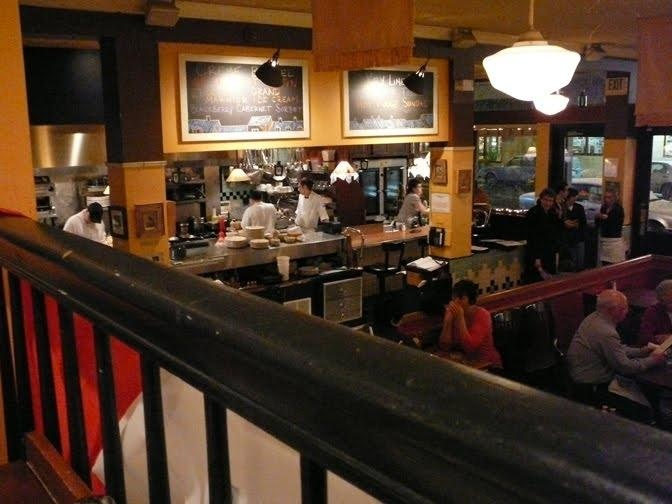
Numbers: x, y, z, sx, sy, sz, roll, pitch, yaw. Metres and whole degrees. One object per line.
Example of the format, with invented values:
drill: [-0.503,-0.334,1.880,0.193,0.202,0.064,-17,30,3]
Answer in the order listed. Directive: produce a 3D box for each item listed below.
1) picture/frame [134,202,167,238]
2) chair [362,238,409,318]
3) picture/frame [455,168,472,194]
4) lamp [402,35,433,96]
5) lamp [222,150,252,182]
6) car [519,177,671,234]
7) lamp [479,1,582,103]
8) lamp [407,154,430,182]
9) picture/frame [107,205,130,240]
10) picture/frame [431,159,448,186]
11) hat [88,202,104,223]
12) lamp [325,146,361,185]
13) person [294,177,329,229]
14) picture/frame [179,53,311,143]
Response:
picture/frame: [-1.890,-0.342,5.556,0.026,0.334,0.336,9,14,42]
chair: [0.768,0.391,8.453,0.409,1.125,0.894,10,3,30]
picture/frame: [1.847,-1.064,8.049,0.048,0.329,0.344,8,15,44]
lamp: [1.058,-2.425,7.216,0.288,0.680,0.904,9,3,7]
lamp: [-1.858,-1.644,10.457,0.626,0.683,0.629,7,13,32]
car: [5.767,-1.035,11.807,2.309,0.759,1.098,3,9,31]
lamp: [1.097,-1.101,3.068,0.458,0.607,0.477,11,15,37]
lamp: [1.416,-1.463,9.234,0.293,0.414,0.569,9,3,5]
picture/frame: [-2.217,-0.317,5.617,0.347,0.343,0.027,8,12,37]
picture/frame: [1.529,-1.212,8.120,0.056,0.495,0.368,-4,8,-34]
hat: [-2.931,-0.491,6.771,0.189,0.268,0.137,-5,-26,-49]
lamp: [0.180,-1.596,10.172,0.628,0.664,0.603,-7,10,1]
person: [-0.498,-0.958,10.466,0.480,1.288,0.963,-7,15,-20]
picture/frame: [-1.040,-1.687,6.073,0.008,0.899,1.513,10,17,44]
